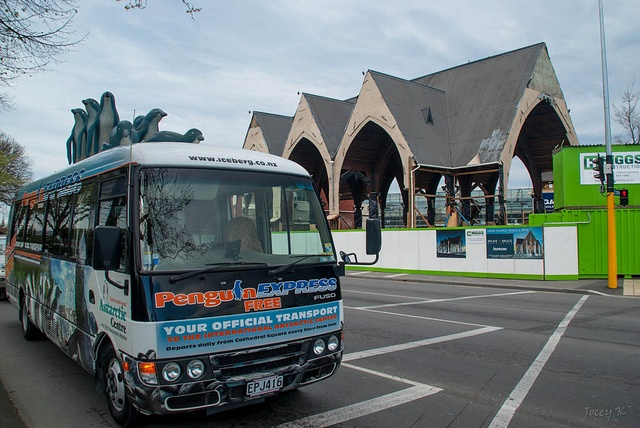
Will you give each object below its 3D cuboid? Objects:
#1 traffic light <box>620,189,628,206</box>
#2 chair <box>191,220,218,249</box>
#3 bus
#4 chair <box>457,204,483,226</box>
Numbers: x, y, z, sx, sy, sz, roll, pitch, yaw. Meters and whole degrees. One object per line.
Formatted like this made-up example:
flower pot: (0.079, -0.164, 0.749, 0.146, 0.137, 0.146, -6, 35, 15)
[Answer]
traffic light: (13.308, -0.784, 20.200, 0.283, 0.615, 0.686, 1, 1, 31)
chair: (-1.618, 0.283, 6.415, 0.218, 0.356, 0.373, 5, 10, 40)
bus: (-3.106, 1.080, 8.606, 3.377, 3.076, 6.844, 2, -7, -40)
chair: (15.379, -0.008, 47.785, 2.292, 2.378, 1.809, 11, -13, -24)
